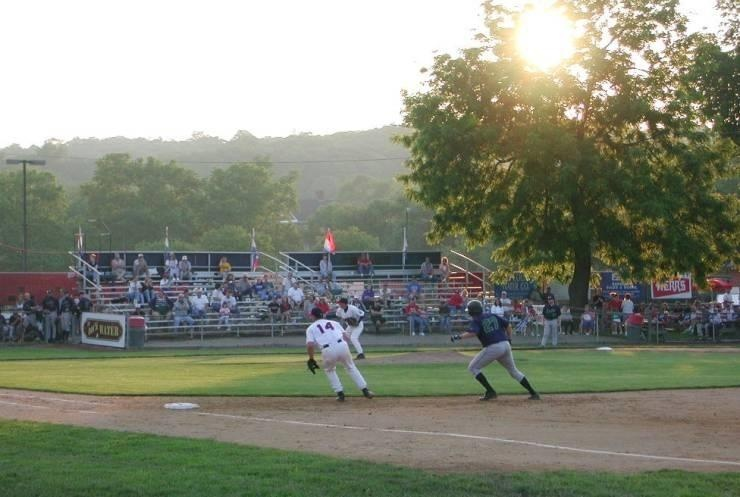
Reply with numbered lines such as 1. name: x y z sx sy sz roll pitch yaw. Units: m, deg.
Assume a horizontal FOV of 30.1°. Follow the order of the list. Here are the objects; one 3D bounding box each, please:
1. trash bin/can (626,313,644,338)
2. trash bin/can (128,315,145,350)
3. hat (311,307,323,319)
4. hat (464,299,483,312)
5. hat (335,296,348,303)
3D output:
1. trash bin/can: 16.147 4.801 84.401 1.279 1.581 1.389 0 0 -22
2. trash bin/can: -13.676 4.919 80.328 1.061 1.899 0.451 2 -5 -21
3. hat: -2.570 3.181 66.683 0.463 0.556 0.569 4 -11 -9
4. hat: 4.965 2.835 66.772 0.639 0.633 0.783 -8 16 -22
5. hat: -1.502 2.817 74.423 0.414 0.475 0.520 6 -7 -31
